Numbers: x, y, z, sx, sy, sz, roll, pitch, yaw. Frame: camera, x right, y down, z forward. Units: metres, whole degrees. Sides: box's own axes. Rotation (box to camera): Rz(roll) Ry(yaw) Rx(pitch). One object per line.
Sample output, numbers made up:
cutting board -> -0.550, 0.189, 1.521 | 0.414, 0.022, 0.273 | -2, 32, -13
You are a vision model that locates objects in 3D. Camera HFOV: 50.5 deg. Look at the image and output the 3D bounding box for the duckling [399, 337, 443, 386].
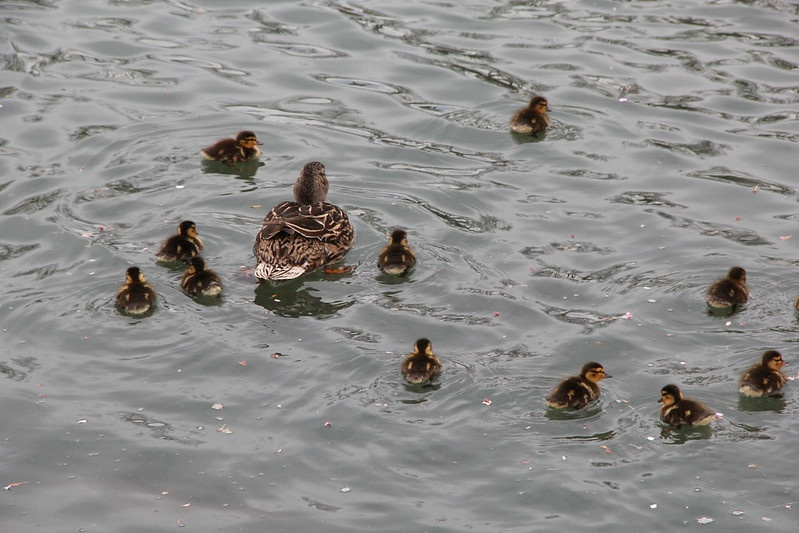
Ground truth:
duckling -> 0.317, 1.278, 11.445 | 0.659, 0.418, 0.667 | 3, 36, 5
